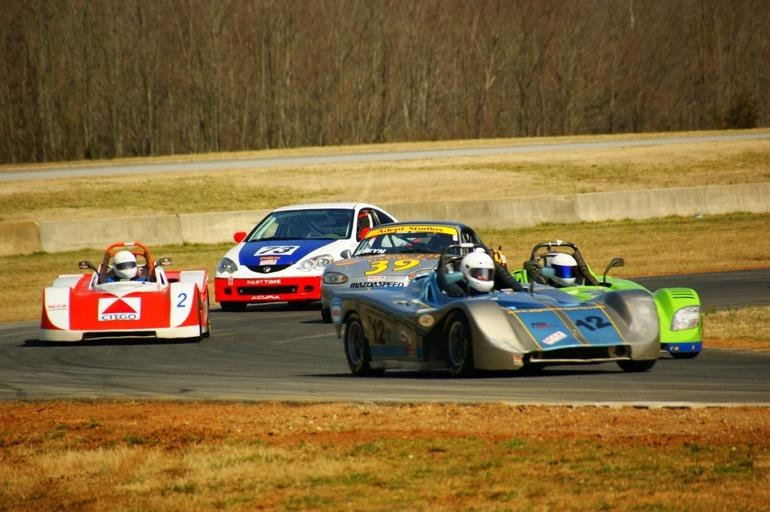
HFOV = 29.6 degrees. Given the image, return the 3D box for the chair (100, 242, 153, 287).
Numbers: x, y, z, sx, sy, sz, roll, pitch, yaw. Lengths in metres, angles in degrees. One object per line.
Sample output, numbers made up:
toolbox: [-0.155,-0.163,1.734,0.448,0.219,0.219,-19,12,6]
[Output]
chair: [-7.600,0.295,43.435,1.816,1.147,2.414,-3,2,-9]
